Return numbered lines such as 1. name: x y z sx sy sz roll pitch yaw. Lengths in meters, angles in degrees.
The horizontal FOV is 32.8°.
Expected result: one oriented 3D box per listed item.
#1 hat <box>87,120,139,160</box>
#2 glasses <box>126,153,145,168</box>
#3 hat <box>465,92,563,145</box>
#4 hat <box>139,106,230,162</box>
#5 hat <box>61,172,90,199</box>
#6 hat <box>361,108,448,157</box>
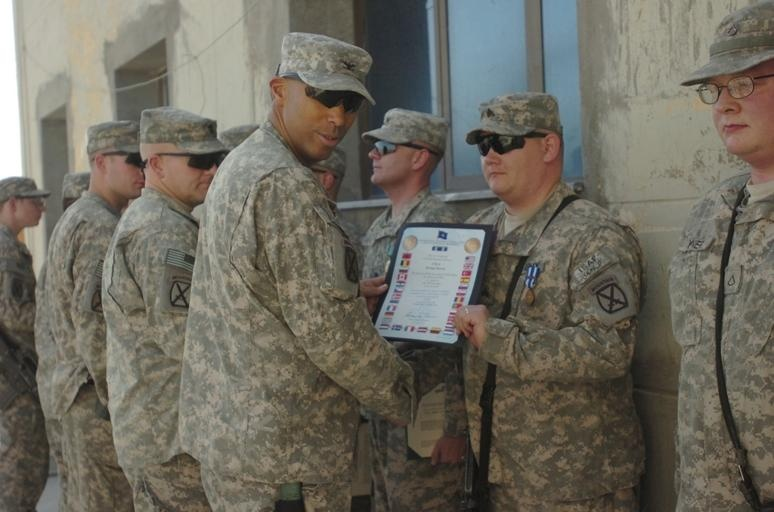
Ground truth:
1. hat: -2.163 -0.943 10.303 0.479 0.237 0.333 -4 5 -29
2. glasses: -1.931 -0.737 10.013 0.157 0.158 0.204 1 6 -2
3. hat: 0.892 -0.976 9.100 0.737 0.324 0.529 -6 6 -43
4. hat: -1.437 -0.891 9.385 0.663 0.299 0.492 3 7 3
5. hat: -2.780 -0.638 11.848 0.289 0.291 0.130 2 -15 6
6. hat: 0.153 -0.950 9.953 0.686 0.312 0.475 3 1 -13
